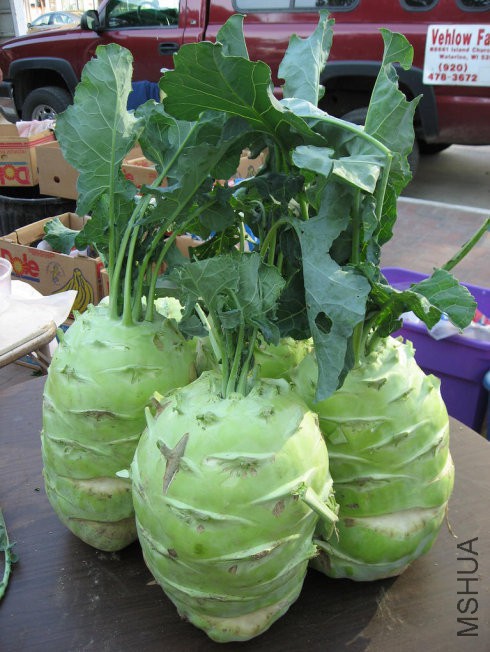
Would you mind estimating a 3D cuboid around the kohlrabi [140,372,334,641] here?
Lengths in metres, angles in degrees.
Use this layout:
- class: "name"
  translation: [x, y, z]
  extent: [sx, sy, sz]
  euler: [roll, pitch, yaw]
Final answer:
- class: "kohlrabi"
  translation: [-0.024, 0.268, 0.857]
  extent: [0.268, 0.363, 0.253]
  euler: [-8, 30, -19]

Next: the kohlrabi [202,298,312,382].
- class: "kohlrabi"
  translation: [0.016, 0.055, 1.040]
  extent: [0.127, 0.103, 0.084]
  euler: [9, 57, -3]
